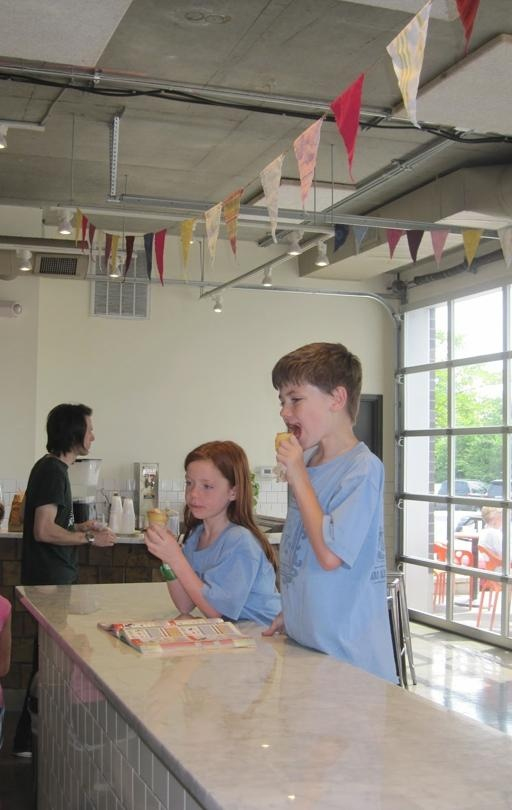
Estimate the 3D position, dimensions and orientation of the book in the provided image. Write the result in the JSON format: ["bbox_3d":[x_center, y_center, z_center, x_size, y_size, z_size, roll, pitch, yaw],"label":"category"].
[{"bbox_3d":[-0.193,0.516,1.512,0.244,0.037,0.384,2,-1,-28],"label":"book"}]

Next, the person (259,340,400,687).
[{"bbox_3d":[0.169,0.229,1.453,0.293,0.741,0.382,1,-1,1],"label":"person"}]

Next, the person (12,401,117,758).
[{"bbox_3d":[-0.990,0.943,3.438,0.454,1.282,0.624,1,-1,-21],"label":"person"}]

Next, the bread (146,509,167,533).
[{"bbox_3d":[-0.249,0.286,1.679,0.072,0.071,0.073,4,-12,-12],"label":"bread"}]
